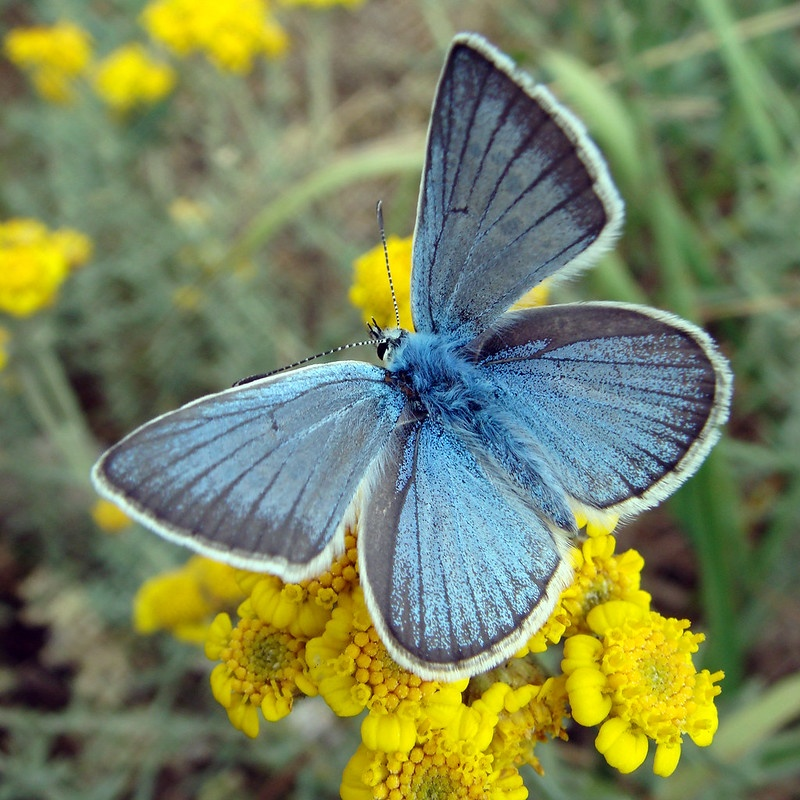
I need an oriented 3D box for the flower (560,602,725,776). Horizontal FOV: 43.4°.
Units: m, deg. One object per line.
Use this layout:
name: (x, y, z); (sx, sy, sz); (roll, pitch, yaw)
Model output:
flower: (0.582, 0.652, 2.319); (0.407, 0.378, 0.167); (30, -39, -22)
